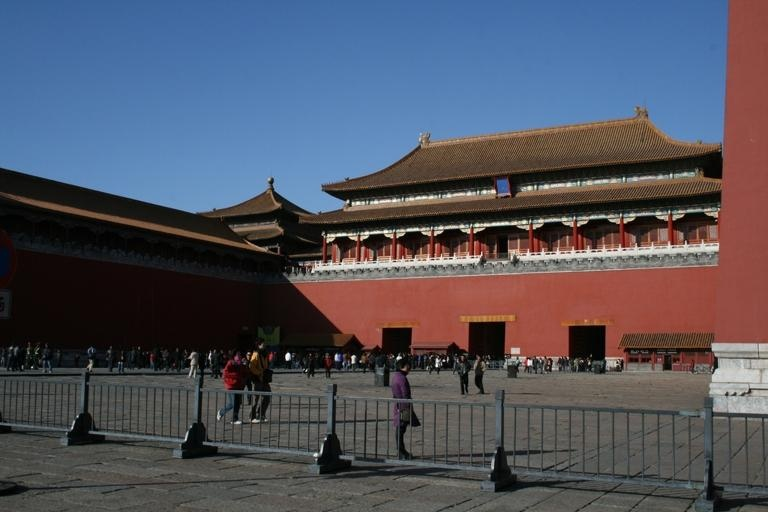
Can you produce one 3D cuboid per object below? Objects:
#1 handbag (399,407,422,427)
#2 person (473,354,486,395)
[{"bbox_3d":[0.387,2.674,14.482,0.419,0.372,0.310,-2,-20,-4],"label":"handbag"},{"bbox_3d":[2.676,3.413,24.838,0.258,0.996,1.184,-3,1,7],"label":"person"}]
